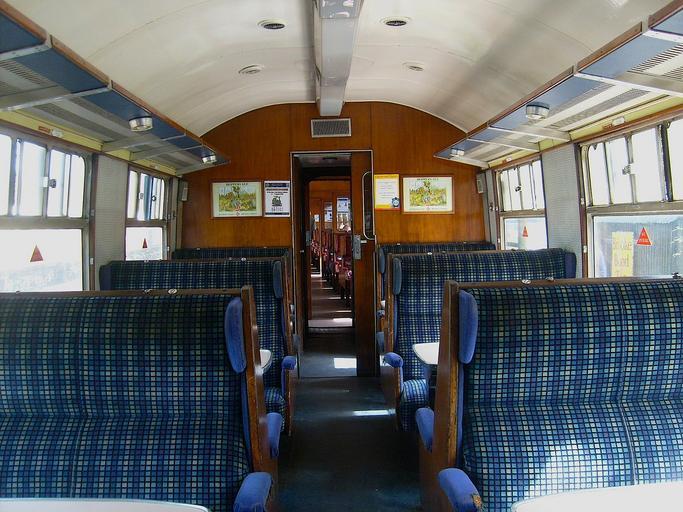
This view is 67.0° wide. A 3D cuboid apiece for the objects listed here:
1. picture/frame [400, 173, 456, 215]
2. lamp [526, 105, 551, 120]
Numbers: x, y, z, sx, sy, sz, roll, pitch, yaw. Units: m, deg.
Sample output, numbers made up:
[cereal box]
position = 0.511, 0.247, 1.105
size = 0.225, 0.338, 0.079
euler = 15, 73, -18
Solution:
[picture/frame]
position = 1.369, -1.023, 8.375
size = 0.642, 0.494, 0.055
euler = 0, -3, -8
[lamp]
position = 1.654, -1.223, 4.369
size = 0.113, 0.051, 0.136
euler = 1, -1, 5
